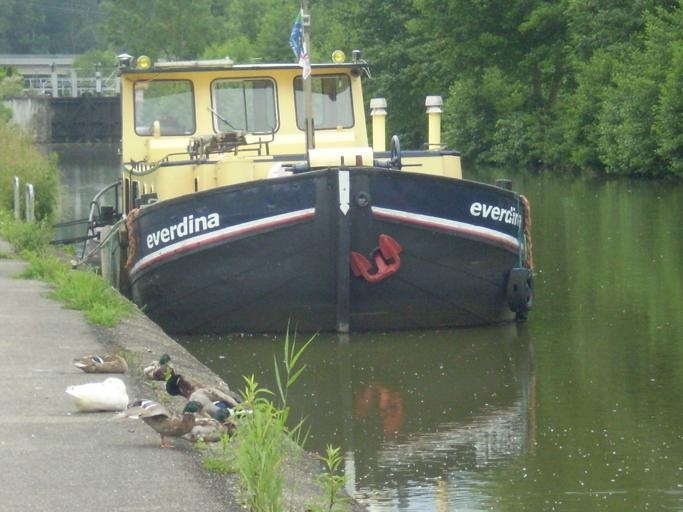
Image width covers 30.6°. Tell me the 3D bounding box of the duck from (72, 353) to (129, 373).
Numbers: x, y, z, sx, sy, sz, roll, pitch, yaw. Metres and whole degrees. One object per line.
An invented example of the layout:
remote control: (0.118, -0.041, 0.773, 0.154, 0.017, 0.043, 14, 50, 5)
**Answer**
duck: (-2.874, 1.330, 15.159, 0.451, 0.189, 0.274, 6, -7, -15)

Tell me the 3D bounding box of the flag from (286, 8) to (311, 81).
flag: (-0.545, -3.388, 20.084, 0.292, 1.385, 0.407, -3, 7, -23)
